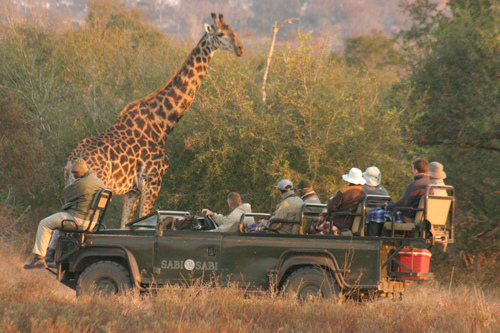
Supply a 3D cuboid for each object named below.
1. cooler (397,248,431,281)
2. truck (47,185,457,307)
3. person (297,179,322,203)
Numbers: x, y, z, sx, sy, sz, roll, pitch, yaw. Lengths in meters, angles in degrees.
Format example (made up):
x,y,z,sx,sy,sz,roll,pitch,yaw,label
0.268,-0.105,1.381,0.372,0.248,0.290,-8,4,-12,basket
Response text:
x,y,z,sx,sy,sz,roll,pitch,yaw,label
4.794,2.639,32.103,0.809,0.839,0.670,1,1,25,cooler
0.001,2.448,34.035,12.088,4.431,5.824,1,0,18,truck
1.791,0.630,33.003,0.468,0.412,0.744,-14,27,-28,person
